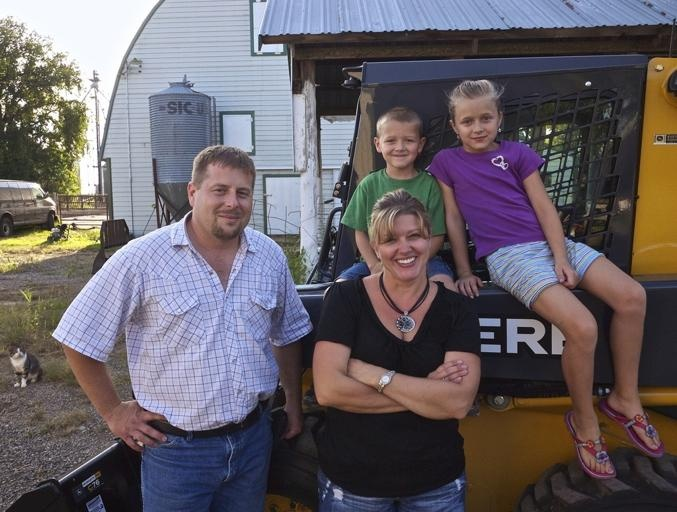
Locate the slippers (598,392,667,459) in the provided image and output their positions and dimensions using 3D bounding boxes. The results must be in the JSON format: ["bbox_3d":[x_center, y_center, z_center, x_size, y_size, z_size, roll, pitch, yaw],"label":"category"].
[{"bbox_3d":[1.559,0.905,3.276,0.159,0.434,0.145,-27,-26,-11],"label":"slippers"}]
